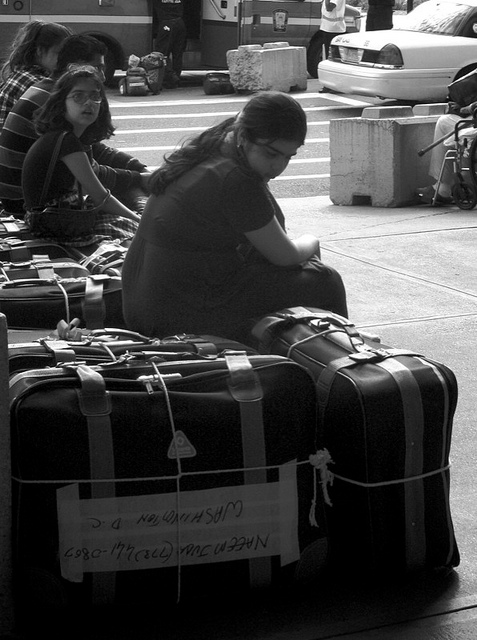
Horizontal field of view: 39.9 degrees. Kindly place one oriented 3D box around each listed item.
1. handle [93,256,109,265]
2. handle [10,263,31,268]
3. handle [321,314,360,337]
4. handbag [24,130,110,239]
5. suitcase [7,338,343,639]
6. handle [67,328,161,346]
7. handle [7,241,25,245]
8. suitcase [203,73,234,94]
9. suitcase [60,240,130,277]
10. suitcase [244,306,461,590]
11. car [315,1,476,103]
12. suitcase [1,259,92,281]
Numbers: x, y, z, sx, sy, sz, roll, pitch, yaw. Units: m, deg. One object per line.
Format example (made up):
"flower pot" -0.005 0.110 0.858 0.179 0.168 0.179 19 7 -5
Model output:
"handle" -0.725 -0.322 3.462 0.063 0.046 0.112 -4 5 -25
"handle" -1.101 -0.283 3.325 0.097 0.023 0.062 -3 5 -15
"handle" 0.323 0.008 2.028 0.044 0.042 0.179 0 23 -32
"handbag" -1.065 -0.818 3.970 0.439 0.640 0.257 -3 5 -16
"suitcase" -0.136 0.361 1.767 1.042 0.758 0.622 -2 4 -16
"handle" -0.386 0.046 2.091 0.338 0.056 0.083 -2 -2 -10
"handle" -1.221 -0.428 3.605 0.080 0.013 0.045 -4 5 -22
"suitcase" -0.455 -5.488 15.175 0.721 0.454 0.505 -5 23 -19
"suitcase" -0.773 -0.357 3.572 0.330 0.142 0.423 -7 27 -38
"suitcase" 0.341 0.371 2.024 0.374 0.545 0.801 -3 1 -14
"car" 2.814 -4.686 11.500 3.147 0.998 1.782 -14 24 -27
"suitcase" -0.994 -0.243 3.360 0.371 0.127 0.328 1 2 14
